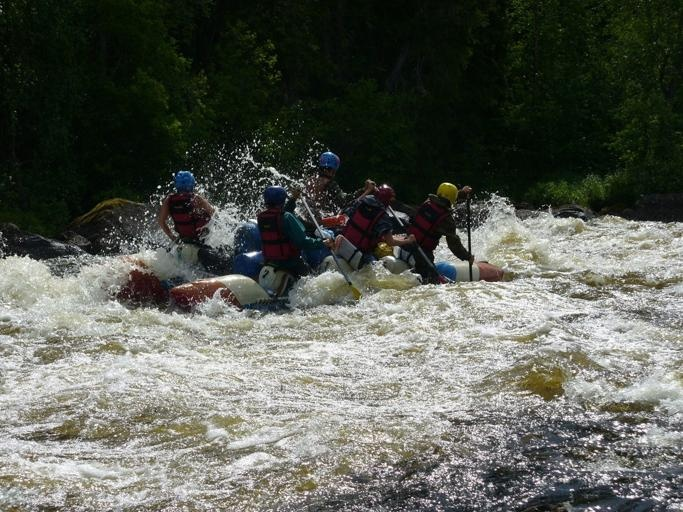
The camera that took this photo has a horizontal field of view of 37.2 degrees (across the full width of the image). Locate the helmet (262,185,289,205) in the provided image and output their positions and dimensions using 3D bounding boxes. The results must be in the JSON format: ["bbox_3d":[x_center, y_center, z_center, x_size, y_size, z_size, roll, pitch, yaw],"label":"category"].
[{"bbox_3d":[-1.198,-1.077,18.110,0.402,0.306,0.294,1,42,26],"label":"helmet"}]

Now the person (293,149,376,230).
[{"bbox_3d":[-0.158,-1.572,23.718,1.538,1.148,2.444,-29,-17,-26],"label":"person"}]

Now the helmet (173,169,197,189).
[{"bbox_3d":[-3.000,-1.450,19.207,0.401,0.389,0.395,-3,2,3],"label":"helmet"}]

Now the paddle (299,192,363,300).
[{"bbox_3d":[-0.196,-0.132,18.943,0.151,2.678,0.328,-3,-38,-51],"label":"paddle"}]

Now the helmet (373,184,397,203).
[{"bbox_3d":[0.790,-1.182,18.860,0.294,0.349,0.386,21,29,37],"label":"helmet"}]

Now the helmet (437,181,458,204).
[{"bbox_3d":[1.963,-1.210,19.155,0.337,0.387,0.439,24,7,25],"label":"helmet"}]

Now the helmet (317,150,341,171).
[{"bbox_3d":[-0.254,-1.989,20.981,0.484,0.378,0.346,-15,26,-35],"label":"helmet"}]

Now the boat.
[{"bbox_3d":[-0.472,0.303,18.518,7.121,1.173,1.443,-8,6,-12],"label":"boat"}]
